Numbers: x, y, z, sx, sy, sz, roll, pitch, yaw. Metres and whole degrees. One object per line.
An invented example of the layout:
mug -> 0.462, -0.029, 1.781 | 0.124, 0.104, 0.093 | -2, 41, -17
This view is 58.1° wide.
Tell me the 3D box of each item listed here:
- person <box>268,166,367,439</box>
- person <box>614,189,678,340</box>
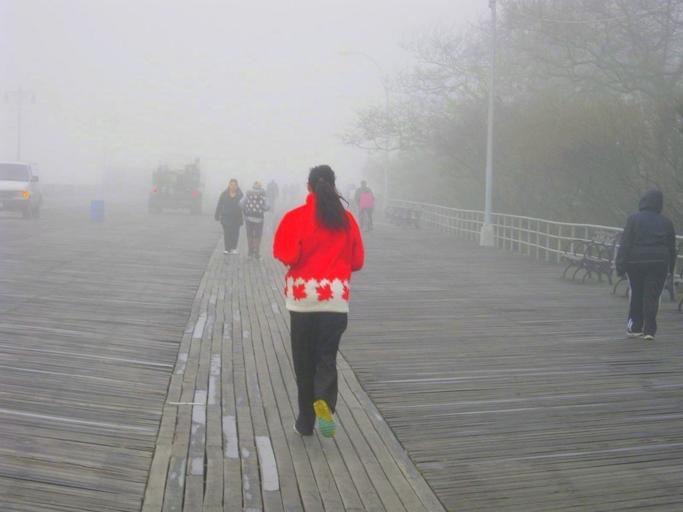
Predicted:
person -> -0.194, 0.334, 4.631 | 0.575, 2.034, 0.561 | 6, 7, 24
person -> 3.902, 0.070, 7.920 | 0.642, 1.871, 0.568 | 8, 8, 36
